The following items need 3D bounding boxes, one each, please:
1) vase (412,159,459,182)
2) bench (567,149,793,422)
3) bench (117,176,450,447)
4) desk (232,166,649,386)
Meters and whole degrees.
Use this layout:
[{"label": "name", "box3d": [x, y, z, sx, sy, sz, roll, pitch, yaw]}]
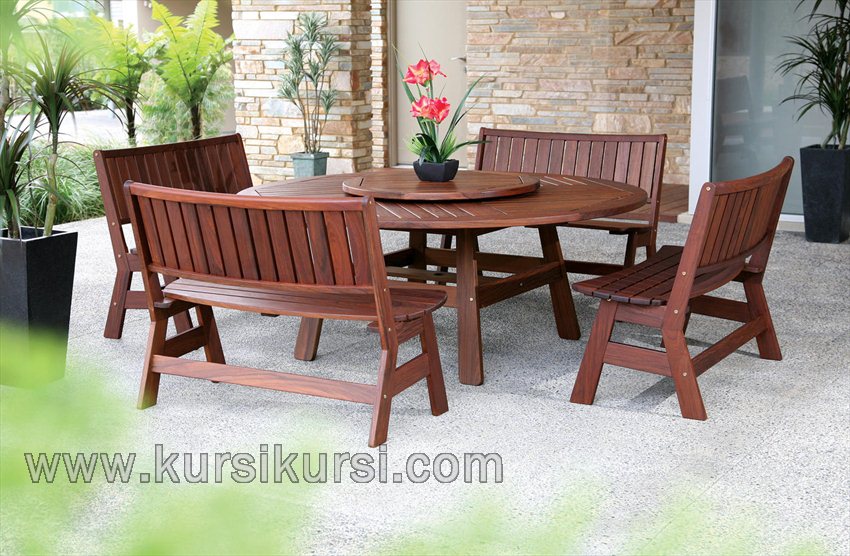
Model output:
[{"label": "vase", "box3d": [0.063, -0.633, 3.554, 0.231, 0.071, 0.160, 2, 8, 25]}, {"label": "bench", "box3d": [1.302, 0.023, 2.958, 0.822, 1.091, 1.172, 12, 26, 31]}, {"label": "bench", "box3d": [-0.655, 0.165, 2.771, 1.869, 0.870, 0.708, 5, 17, 19]}, {"label": "desk", "box3d": [0.071, -0.112, 3.909, 2.698, 0.870, 2.292, -5, 17, 26]}]
